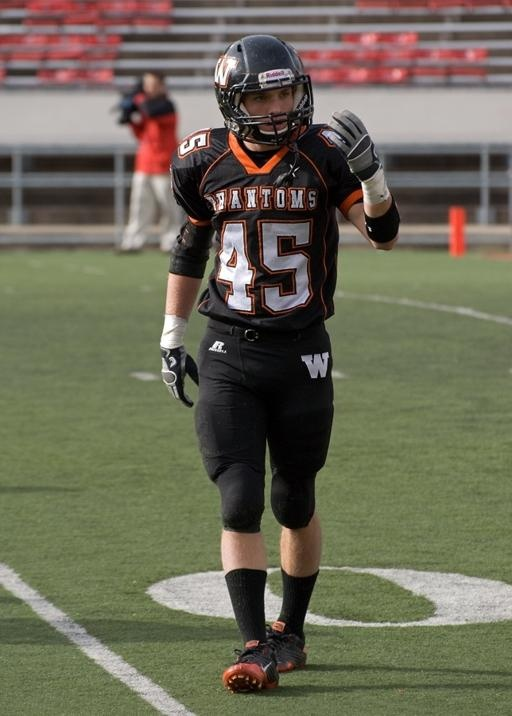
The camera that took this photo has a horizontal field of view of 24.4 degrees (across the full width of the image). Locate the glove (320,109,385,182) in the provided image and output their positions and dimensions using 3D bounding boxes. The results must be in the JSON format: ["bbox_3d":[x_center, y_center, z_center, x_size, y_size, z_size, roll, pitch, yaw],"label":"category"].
[{"bbox_3d":[0.232,-0.514,2.855,0.071,0.176,0.104,-36,18,-4],"label":"glove"}]

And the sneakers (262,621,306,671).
[{"bbox_3d":[0.070,0.741,3.028,0.115,0.120,0.304,-3,-14,17],"label":"sneakers"}]

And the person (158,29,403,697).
[{"bbox_3d":[0.055,-0.028,3.050,0.597,1.617,0.815,-1,11,-4],"label":"person"}]

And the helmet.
[{"bbox_3d":[0.015,-0.714,3.113,0.262,0.230,0.324,-12,27,-19],"label":"helmet"}]

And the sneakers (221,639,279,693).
[{"bbox_3d":[-0.013,0.755,2.864,0.119,0.120,0.159,2,10,8],"label":"sneakers"}]
